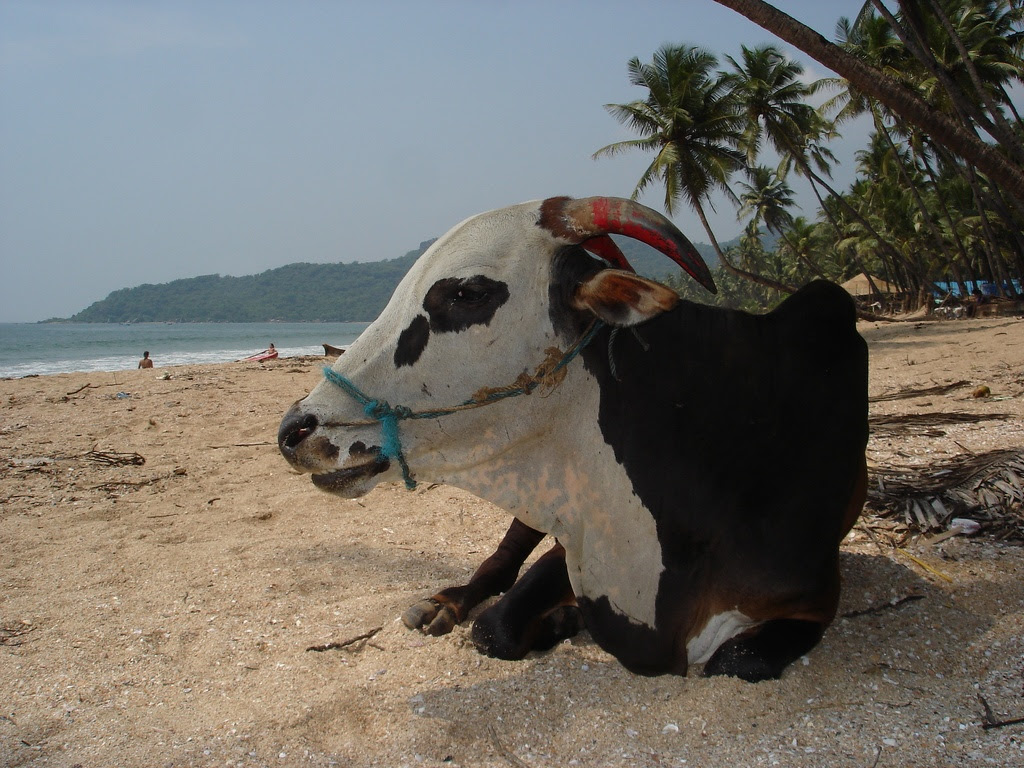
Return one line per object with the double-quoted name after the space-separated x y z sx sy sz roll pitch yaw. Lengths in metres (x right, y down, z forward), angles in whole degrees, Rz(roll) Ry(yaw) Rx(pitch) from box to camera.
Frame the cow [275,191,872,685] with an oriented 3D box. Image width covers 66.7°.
0.227 0.253 3.838 2.402 1.885 1.815 -3 -1 -12 "cow"
